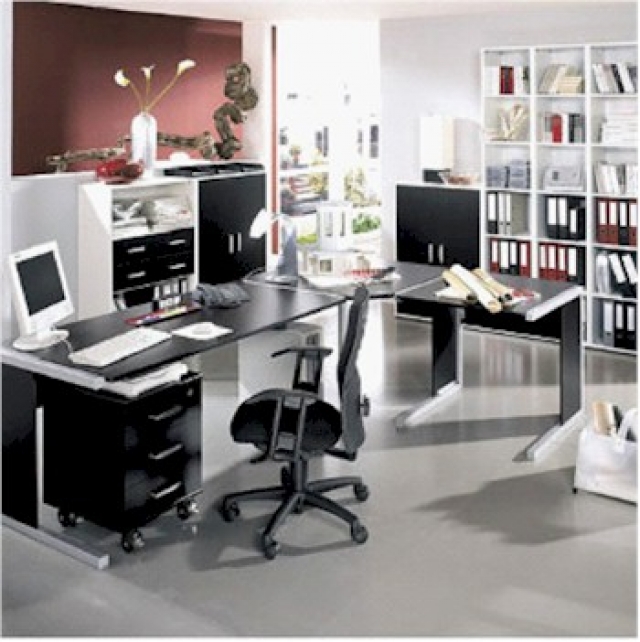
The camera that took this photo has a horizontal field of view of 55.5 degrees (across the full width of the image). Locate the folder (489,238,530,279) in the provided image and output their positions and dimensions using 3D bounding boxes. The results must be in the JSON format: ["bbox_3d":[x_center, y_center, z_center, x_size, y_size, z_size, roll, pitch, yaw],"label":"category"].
[{"bbox_3d":[1.668,-0.553,5.310,0.404,0.384,0.223,8,17,36],"label":"folder"}]

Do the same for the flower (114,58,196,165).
[{"bbox_3d":[-1.414,-1.681,5.042,0.549,0.881,0.544,19,22,23],"label":"flower"}]

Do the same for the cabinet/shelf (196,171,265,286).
[{"bbox_3d":[-0.726,-0.865,5.999,1.038,0.980,0.375,-7,-4,42],"label":"cabinet/shelf"}]

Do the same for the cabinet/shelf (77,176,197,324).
[{"bbox_3d":[-1.522,-0.456,5.198,0.430,1.431,0.866,20,25,33],"label":"cabinet/shelf"}]

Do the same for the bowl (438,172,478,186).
[{"bbox_3d":[1.294,-1.355,5.787,0.344,0.131,0.158,3,9,22],"label":"bowl"}]

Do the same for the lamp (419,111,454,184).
[{"bbox_3d":[1.136,-1.673,5.959,0.286,0.651,0.255,3,9,21],"label":"lamp"}]

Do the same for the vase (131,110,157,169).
[{"bbox_3d":[-1.463,-1.475,5.035,0.205,0.496,0.300,-3,9,-16],"label":"vase"}]

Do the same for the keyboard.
[{"bbox_3d":[-0.810,0.082,2.490,0.458,0.055,0.174,-20,-27,29],"label":"keyboard"}]

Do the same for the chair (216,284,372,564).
[{"bbox_3d":[-0.090,0.398,2.685,0.621,0.977,0.772,3,9,13],"label":"chair"}]

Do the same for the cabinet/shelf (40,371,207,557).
[{"bbox_3d":[-0.772,0.454,2.837,0.668,0.950,0.734,5,9,30],"label":"cabinet/shelf"}]

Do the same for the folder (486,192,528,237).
[{"bbox_3d":[1.670,-0.995,5.621,0.403,0.519,0.378,4,17,31],"label":"folder"}]
